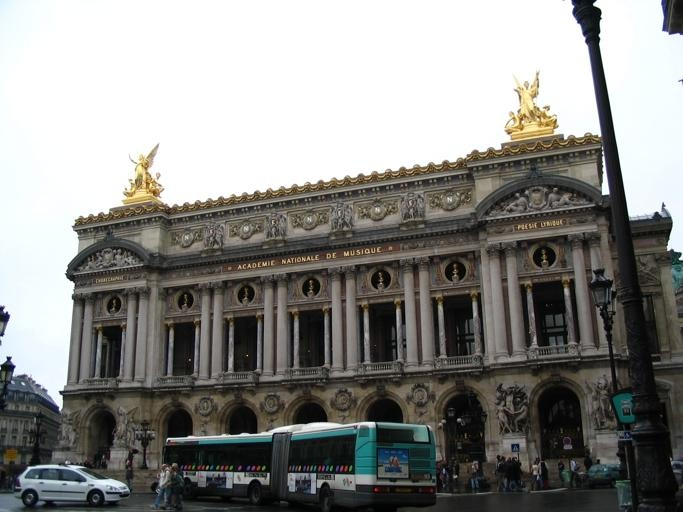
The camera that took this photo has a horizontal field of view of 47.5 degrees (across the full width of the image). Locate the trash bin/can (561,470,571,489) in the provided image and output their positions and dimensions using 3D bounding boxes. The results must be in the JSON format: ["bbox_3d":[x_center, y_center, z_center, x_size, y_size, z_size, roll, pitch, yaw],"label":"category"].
[{"bbox_3d":[12.900,12.964,45.066,0.661,1.021,0.671,-19,-33,41],"label":"trash bin/can"}]

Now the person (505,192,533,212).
[{"bbox_3d":[12.040,-3.591,52.501,1.204,0.603,0.305,-18,-17,14],"label":"person"}]

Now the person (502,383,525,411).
[{"bbox_3d":[11.082,9.069,49.581,1.219,1.530,0.556,-4,0,6],"label":"person"}]

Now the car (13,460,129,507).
[{"bbox_3d":[-12.699,10.679,36.122,4.936,1.958,0.937,-6,-20,10],"label":"car"}]
